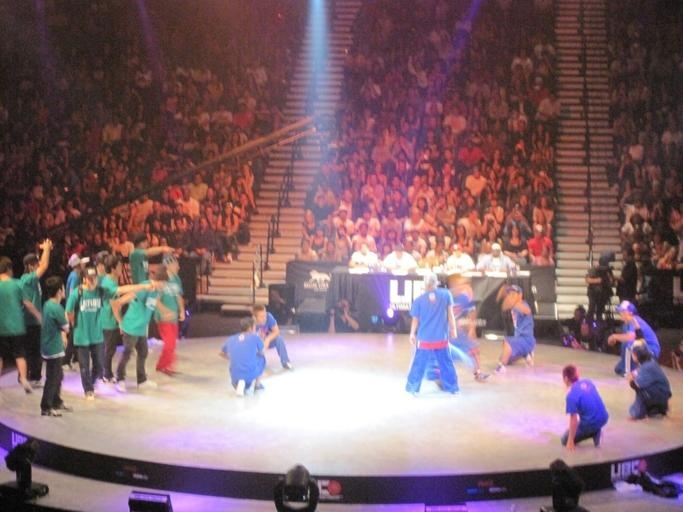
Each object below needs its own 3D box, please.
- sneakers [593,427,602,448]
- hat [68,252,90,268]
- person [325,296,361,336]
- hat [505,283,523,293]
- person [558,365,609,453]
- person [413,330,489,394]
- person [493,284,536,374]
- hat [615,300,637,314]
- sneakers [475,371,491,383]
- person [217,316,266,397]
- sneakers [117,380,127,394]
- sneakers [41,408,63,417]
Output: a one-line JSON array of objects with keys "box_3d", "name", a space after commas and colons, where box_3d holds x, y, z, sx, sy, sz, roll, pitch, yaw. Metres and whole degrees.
[{"box_3d": [3.490, 2.474, 9.411, 0.072, 0.287, 0.120, -1, -31, 27], "name": "sneakers"}, {"box_3d": [-5.200, 0.064, 13.625, 0.351, 0.249, 0.224, -17, 19, -21], "name": "hat"}, {"box_3d": [0.002, 1.370, 15.274, 0.677, 0.798, 0.186, 6, 11, 1], "name": "person"}, {"box_3d": [3.054, 0.571, 12.171, 0.268, 0.179, 0.275, 5, 2, 43], "name": "hat"}, {"box_3d": [3.328, 2.070, 9.486, 0.587, 1.117, 0.336, 4, -6, -14], "name": "person"}, {"box_3d": [2.168, 1.792, 12.318, 1.191, 0.731, 0.312, 19, 1, -29], "name": "person"}, {"box_3d": [3.265, 1.304, 12.913, 0.643, 1.665, 1.998, 1, -7, 14], "name": "person"}, {"box_3d": [4.698, 0.842, 11.420, 0.380, 0.223, 0.234, 8, -9, -37], "name": "hat"}, {"box_3d": [2.384, 2.048, 11.742, 0.313, 0.165, 0.109, -7, 11, -31], "name": "sneakers"}, {"box_3d": [-1.512, 1.596, 11.232, 0.765, 1.525, 1.006, 2, 10, 6], "name": "person"}, {"box_3d": [-3.560, 2.111, 11.161, 0.151, 0.180, 0.145, -3, 9, -18], "name": "sneakers"}, {"box_3d": [-4.333, 2.316, 10.248, 0.369, 0.190, 0.127, -1, -5, 9], "name": "sneakers"}]
